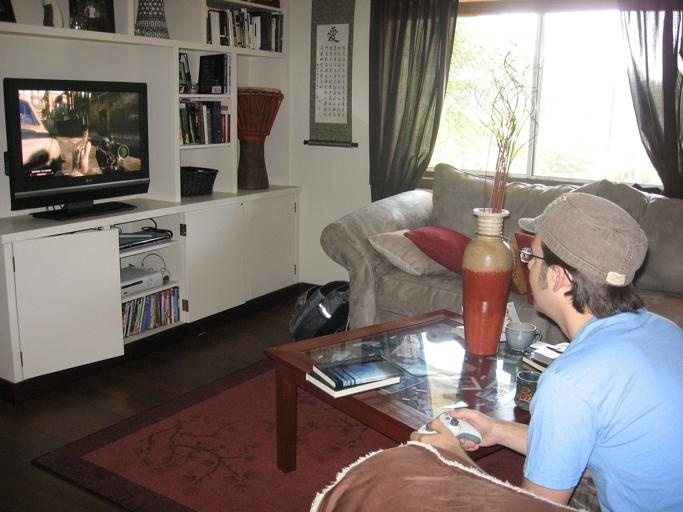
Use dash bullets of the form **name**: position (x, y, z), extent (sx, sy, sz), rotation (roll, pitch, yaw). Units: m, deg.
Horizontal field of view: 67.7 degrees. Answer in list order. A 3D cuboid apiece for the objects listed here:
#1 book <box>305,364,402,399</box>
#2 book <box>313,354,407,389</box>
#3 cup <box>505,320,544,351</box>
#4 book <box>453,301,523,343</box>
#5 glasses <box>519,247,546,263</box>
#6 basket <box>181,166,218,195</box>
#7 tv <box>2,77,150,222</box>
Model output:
- **book**: position (0.068, 0.430, 1.838), extent (0.212, 0.048, 0.152), rotation (-5, 9, -35)
- **book**: position (0.066, 0.419, 1.850), extent (0.173, 0.029, 0.129), rotation (-5, 10, -31)
- **cup**: position (0.754, 0.321, 2.091), extent (0.129, 0.088, 0.109), rotation (3, 4, 32)
- **book**: position (0.705, 0.295, 2.351), extent (0.199, 0.163, 0.219), rotation (0, 4, 18)
- **glasses**: position (0.592, -0.001, 1.573), extent (0.062, 0.019, 0.063), rotation (7, 12, 10)
- **basket**: position (-1.037, -0.532, 3.654), extent (0.195, 0.115, 0.249), rotation (-5, 7, -40)
- **tv**: position (-1.578, -0.628, 2.986), extent (0.236, 0.711, 0.825), rotation (9, 15, 33)
